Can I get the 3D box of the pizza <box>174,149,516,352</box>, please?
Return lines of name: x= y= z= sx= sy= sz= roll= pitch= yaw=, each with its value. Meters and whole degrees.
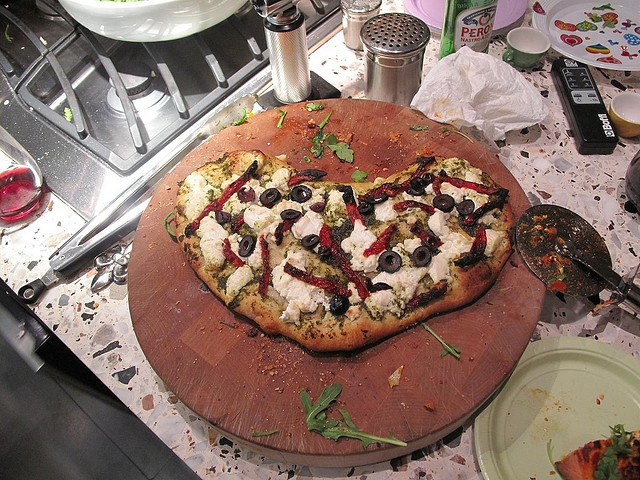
pizza: x=0.129 y=0.011 z=2.364 sx=1.458 sy=0.187 sz=1.010 roll=7 pitch=63 yaw=7

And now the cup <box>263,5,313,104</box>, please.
cup: x=-0.166 y=-1.067 z=2.872 sx=0.257 sy=0.574 sz=0.242 roll=-2 pitch=41 yaw=1
